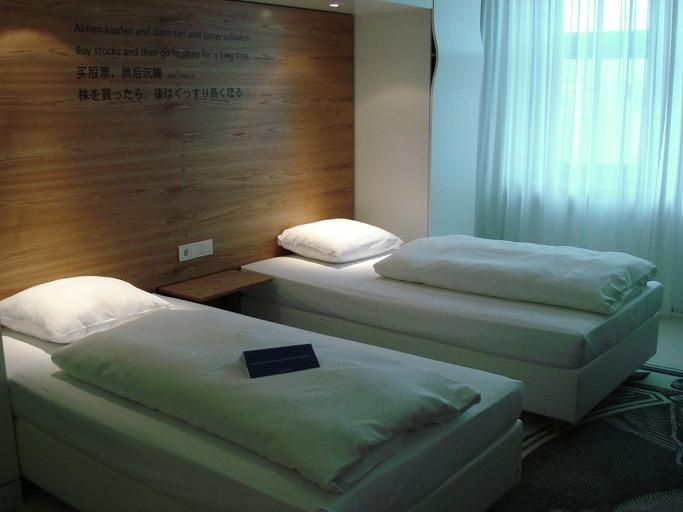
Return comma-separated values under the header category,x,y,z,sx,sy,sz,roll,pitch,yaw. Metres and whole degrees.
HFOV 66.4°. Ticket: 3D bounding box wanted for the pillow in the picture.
category,x,y,z,sx,sy,sz,roll,pitch,yaw
pillow,-0.093,-0.127,3.877,0.511,0.129,0.457,-10,15,-43
